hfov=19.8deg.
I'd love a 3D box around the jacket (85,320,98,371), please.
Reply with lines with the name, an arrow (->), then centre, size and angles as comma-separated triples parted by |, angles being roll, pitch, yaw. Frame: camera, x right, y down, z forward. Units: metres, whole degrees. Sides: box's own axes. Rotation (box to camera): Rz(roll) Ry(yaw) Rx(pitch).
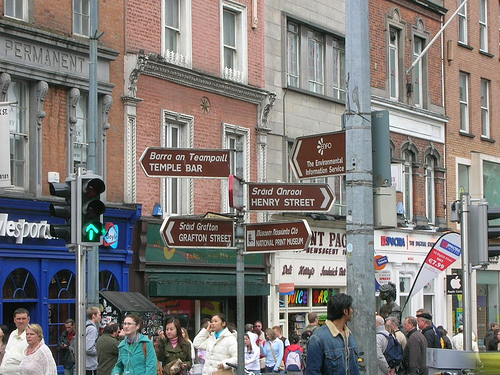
jacket -> -3.934, 3.941, 35.467 | 0.263, 1.064, 0.517 | 1, -9, -5

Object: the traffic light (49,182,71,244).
traffic light -> -4.083, 0.556, 30.749 | 0.459, 1.339, 0.455 | 1, -9, -8

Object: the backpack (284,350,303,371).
backpack -> 1.195, 4.611, 38.605 | 0.522, 0.601, 0.338 | 1, -45, 9

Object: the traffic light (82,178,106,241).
traffic light -> -3.393, 0.459, 30.591 | 0.526, 1.403, 0.406 | -2, 5, -28

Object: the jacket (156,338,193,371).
jacket -> -1.802, 3.942, 33.990 | 0.941, 1.027, 0.608 | -1, -32, -2

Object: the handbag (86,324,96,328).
handbag -> -3.950, 3.389, 35.403 | 0.069, 0.096, 0.327 | -7, -11, 36

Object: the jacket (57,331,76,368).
jacket -> -4.751, 4.122, 36.948 | 0.404, 0.938, 0.997 | 1, -9, -8

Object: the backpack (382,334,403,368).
backpack -> 3.430, 3.858, 34.142 | 0.591, 0.768, 0.175 | 8, -12, -42

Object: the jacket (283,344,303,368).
jacket -> 1.141, 4.461, 38.821 | 0.637, 0.820, 0.460 | 1, -32, 6
